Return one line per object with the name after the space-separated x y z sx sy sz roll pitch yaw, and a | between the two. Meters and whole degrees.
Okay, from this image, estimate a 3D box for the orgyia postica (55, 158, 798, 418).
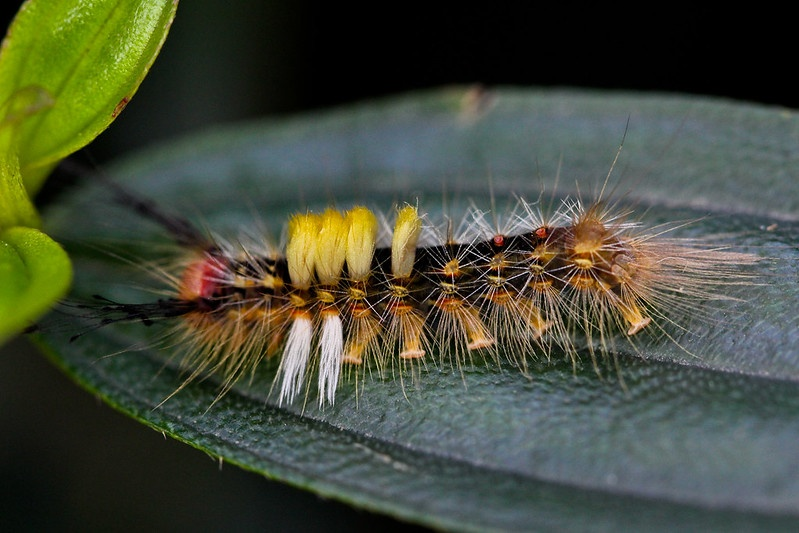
0.003 0.067 1.867 1.581 0.563 0.535 -1 53 9 | orgyia postica
